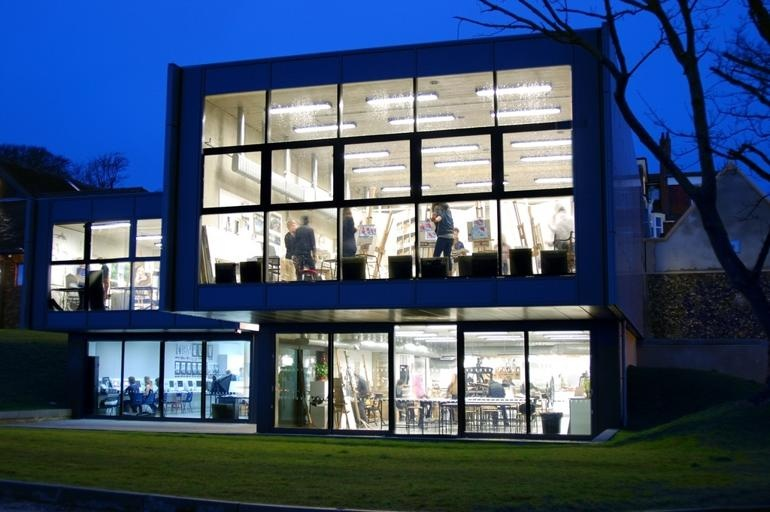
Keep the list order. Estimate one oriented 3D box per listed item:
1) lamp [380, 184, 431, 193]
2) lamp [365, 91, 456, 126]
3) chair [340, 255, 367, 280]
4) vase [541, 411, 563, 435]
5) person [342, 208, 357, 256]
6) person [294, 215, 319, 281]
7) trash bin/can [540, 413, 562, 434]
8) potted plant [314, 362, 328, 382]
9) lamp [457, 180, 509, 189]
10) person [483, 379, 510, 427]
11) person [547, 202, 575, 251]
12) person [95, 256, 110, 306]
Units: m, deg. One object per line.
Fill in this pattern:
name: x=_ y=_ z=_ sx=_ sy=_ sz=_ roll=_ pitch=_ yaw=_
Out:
lamp: x=0.628 y=-2.202 z=28.726 sx=1.739 sy=0.270 sz=0.805 roll=-2 pitch=-2 yaw=12
lamp: x=0.677 y=-4.938 z=29.180 sx=1.780 sy=1.229 sz=0.279 roll=-4 pitch=8 yaw=11
chair: x=-1.018 y=0.363 z=28.263 sx=0.726 sy=0.725 sz=0.745 roll=-2 pitch=-6 yaw=10
vase: x=5.510 y=5.586 z=29.373 sx=0.668 sy=0.670 sz=0.730 roll=1 pitch=-16 yaw=1
person: x=-1.189 y=-0.815 z=28.894 sx=0.485 sy=1.536 sz=0.125 roll=-2 pitch=-1 yaw=-2
person: x=-2.644 y=-0.313 z=28.982 sx=0.748 sy=2.057 sz=0.196 roll=-2 pitch=-1 yaw=-4
trash bin/can: x=5.503 y=5.586 z=29.379 sx=0.704 sy=0.702 sz=0.684 roll=-11 pitch=-17 yaw=43
potted plant: x=-2.289 y=4.116 z=31.588 sx=0.686 sy=0.676 sz=0.607 roll=-1 pitch=-11 yaw=10
lamp: x=3.153 y=-2.327 z=28.428 sx=2.340 sy=0.267 sz=0.283 roll=4 pitch=5 yaw=40
person: x=3.769 y=4.983 z=29.890 sx=0.678 sy=1.559 sz=0.231 roll=-2 pitch=-1 yaw=7
person: x=5.414 y=-0.923 z=27.428 sx=0.212 sy=1.495 sz=0.855 roll=0 pitch=-2 yaw=-45
person: x=-11.842 y=1.198 z=37.502 sx=0.408 sy=2.018 sz=0.155 roll=-1 pitch=-1 yaw=-15
